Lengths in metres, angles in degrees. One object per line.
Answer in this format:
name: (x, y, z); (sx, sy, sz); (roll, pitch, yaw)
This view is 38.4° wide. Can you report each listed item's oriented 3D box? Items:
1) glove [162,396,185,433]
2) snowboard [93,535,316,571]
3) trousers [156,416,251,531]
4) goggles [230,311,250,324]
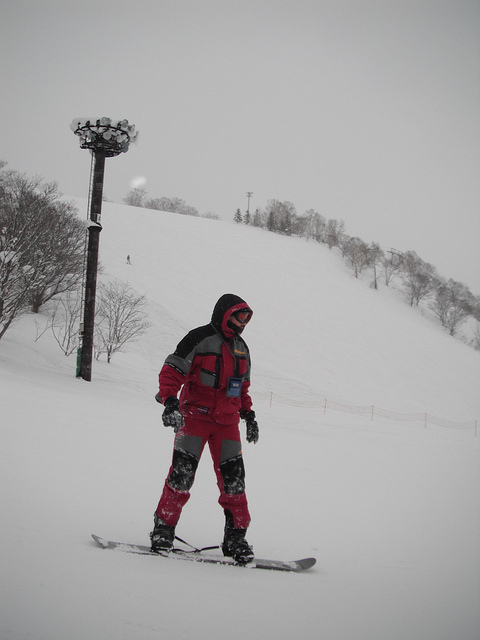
glove: (-0.436, 0.613, 4.511); (0.135, 0.223, 0.062); (6, -22, -43)
snowboard: (-0.260, 1.519, 4.502); (1.090, 0.093, 0.189); (6, -46, -1)
trousers: (-0.222, 1.079, 4.947); (0.610, 0.342, 1.620); (1, 16, 1)
goggles: (0.007, -0.022, 4.908); (0.074, 0.064, 0.099); (0, 5, -43)
